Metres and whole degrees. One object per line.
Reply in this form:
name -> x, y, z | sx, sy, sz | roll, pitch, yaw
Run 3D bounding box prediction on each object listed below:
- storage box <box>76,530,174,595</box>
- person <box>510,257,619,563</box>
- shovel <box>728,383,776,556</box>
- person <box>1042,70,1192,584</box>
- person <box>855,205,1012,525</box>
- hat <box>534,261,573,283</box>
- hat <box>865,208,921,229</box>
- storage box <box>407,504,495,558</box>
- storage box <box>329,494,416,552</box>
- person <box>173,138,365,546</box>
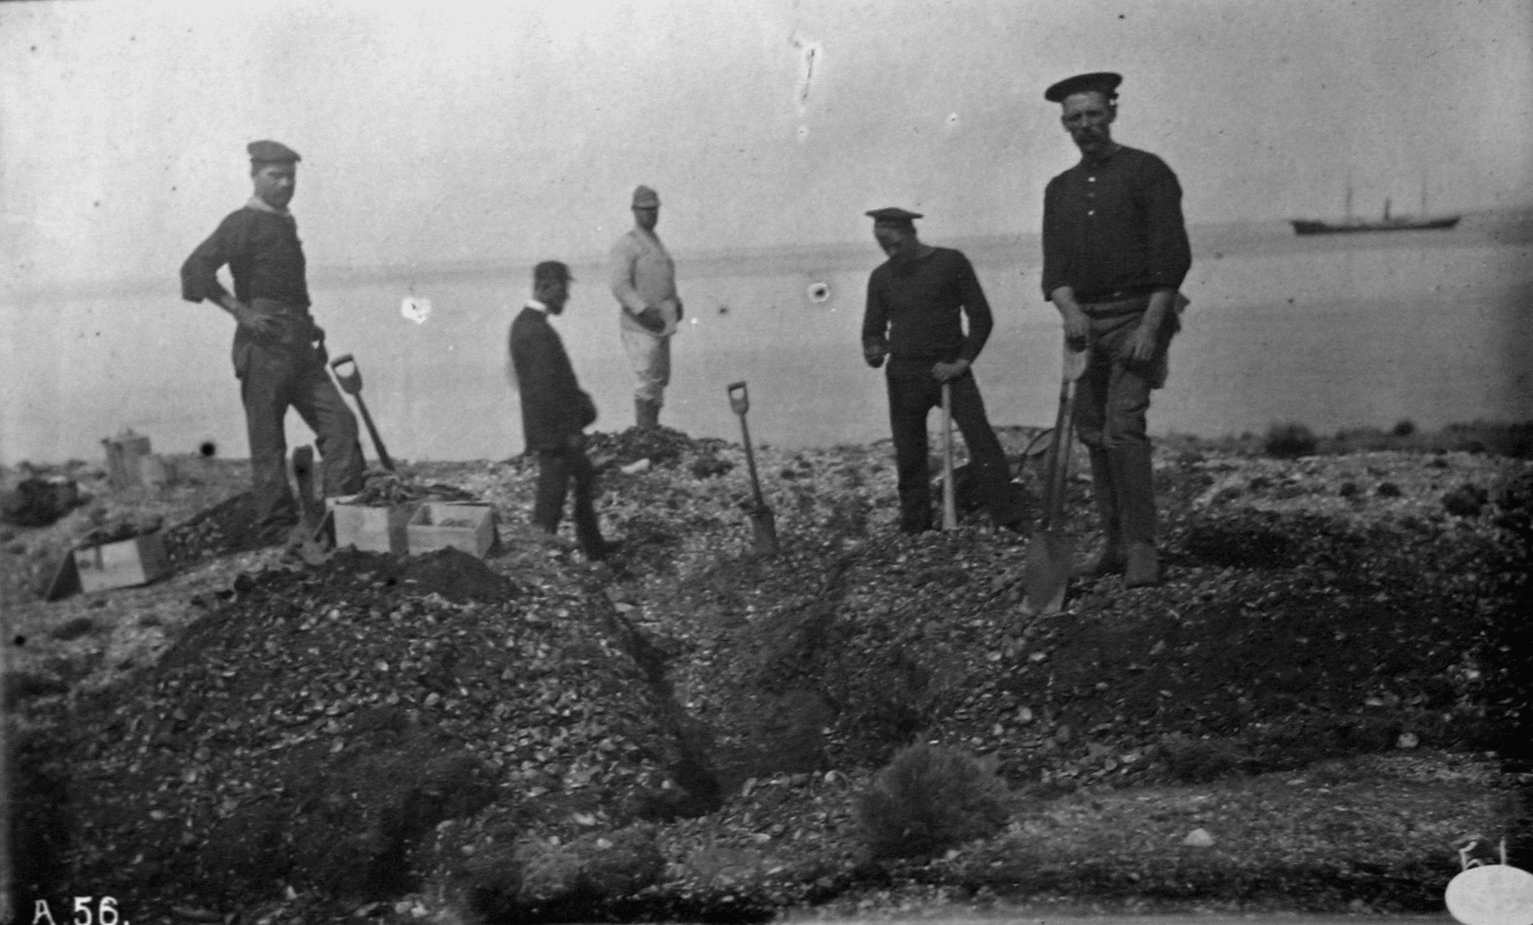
storage box -> -4.085, 0.622, 8.748 | 0.564, 0.337, 0.104 | -5, 9, -5
person -> -1.338, -0.330, 8.825 | 0.523, 1.889, 0.242 | -6, 9, -10
shovel -> -0.091, 0.013, 8.899 | 0.207, 1.080, 0.308 | -8, 10, -18
person -> 2.032, -0.730, 8.063 | 0.451, 2.830, 0.757 | -13, 12, -42
person -> 1.049, -0.585, 8.688 | 0.897, 2.018, 0.394 | -4, 9, 5
hat -> -1.353, -1.208, 8.737 | 0.163, 0.091, 0.136 | -1, 14, -2
hat -> 0.791, -1.501, 8.432 | 0.260, 0.108, 0.467 | -4, 9, 1
storage box -> -1.997, 0.399, 8.707 | 0.509, 0.256, 0.347 | 4, 43, 2
storage box -> -2.494, 0.375, 8.661 | 0.382, 0.217, 0.363 | -1, 6, -14
person -> -3.165, -0.905, 8.843 | 0.950, 2.258, 0.227 | -3, 9, 6
